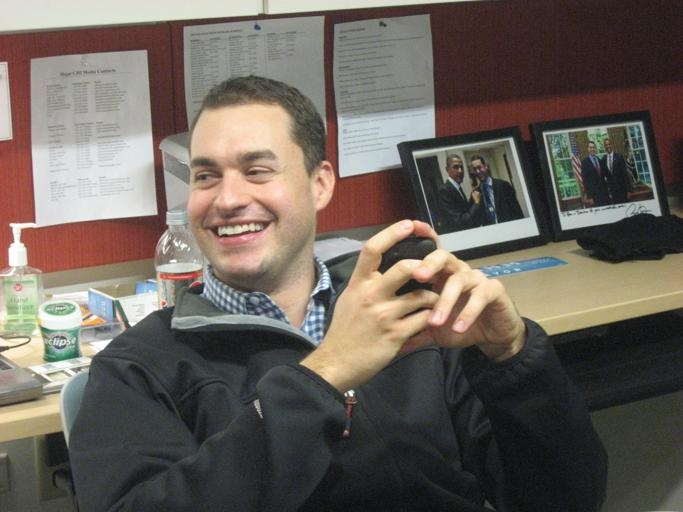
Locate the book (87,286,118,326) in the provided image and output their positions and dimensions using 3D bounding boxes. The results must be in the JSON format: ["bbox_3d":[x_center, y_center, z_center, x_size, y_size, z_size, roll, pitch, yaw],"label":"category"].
[{"bbox_3d":[-0.564,0.116,1.397,0.063,0.079,0.110,-5,11,-34],"label":"book"}]

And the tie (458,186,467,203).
[{"bbox_3d":[0.362,-0.182,1.757,0.031,0.039,0.027,-21,-1,9],"label":"tie"}]
